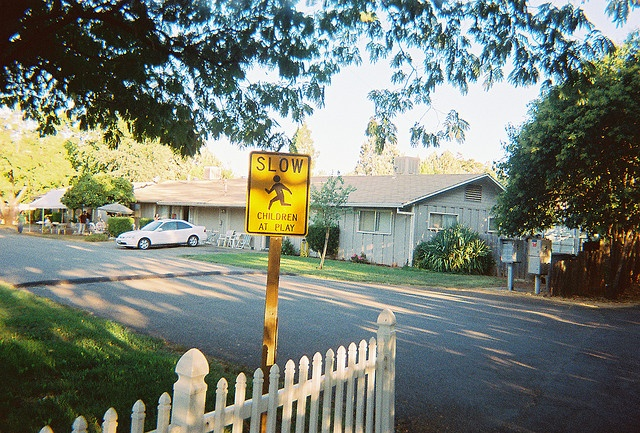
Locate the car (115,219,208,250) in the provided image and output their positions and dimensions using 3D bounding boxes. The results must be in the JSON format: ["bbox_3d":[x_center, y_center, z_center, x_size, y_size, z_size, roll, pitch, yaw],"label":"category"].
[{"bbox_3d":[-9.225,0.994,27.448,0.685,1.856,5.467,-1,-7,33],"label":"car"}]

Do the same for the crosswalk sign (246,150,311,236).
[{"bbox_3d":[-0.608,-0.342,6.714,0.895,1.189,0.160,2,-4,-2],"label":"crosswalk sign"}]
